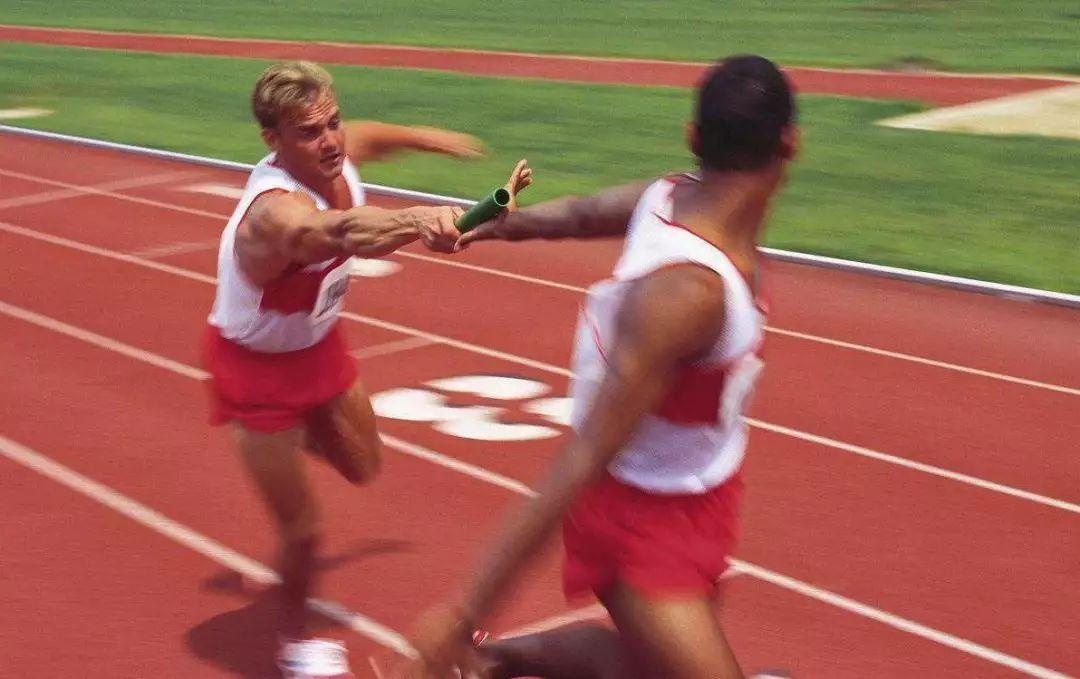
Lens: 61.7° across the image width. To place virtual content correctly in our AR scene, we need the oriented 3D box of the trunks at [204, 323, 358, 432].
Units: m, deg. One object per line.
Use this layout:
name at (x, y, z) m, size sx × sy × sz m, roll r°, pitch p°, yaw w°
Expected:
trunks at (-1.297, 0.190, 4.684) m, size 0.561 × 0.348 × 0.693 m, roll 3°, pitch 8°, yaw 39°

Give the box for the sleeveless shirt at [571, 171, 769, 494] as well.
sleeveless shirt at (0.414, 0.023, 3.047) m, size 0.571 × 1.001 × 0.493 m, roll 17°, pitch 25°, yaw 28°
